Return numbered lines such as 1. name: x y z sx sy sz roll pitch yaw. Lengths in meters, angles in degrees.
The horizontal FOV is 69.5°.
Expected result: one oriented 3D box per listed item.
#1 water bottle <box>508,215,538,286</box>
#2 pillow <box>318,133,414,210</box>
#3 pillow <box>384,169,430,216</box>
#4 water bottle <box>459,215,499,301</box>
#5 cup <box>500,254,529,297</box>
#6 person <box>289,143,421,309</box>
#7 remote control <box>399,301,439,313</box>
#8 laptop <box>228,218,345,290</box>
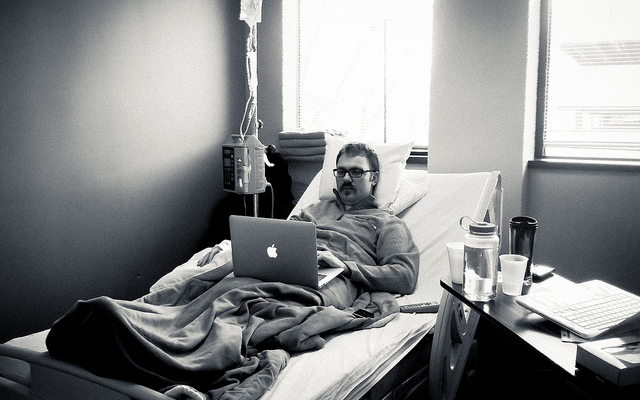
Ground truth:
1. water bottle: 0.977 0.239 2.239 0.119 0.315 0.151 -9 17 -39
2. pillow: 0.309 -0.217 3.242 0.555 0.570 0.165 1 -24 8
3. pillow: 0.606 -0.087 3.191 0.312 0.097 0.315 -37 37 -28
4. water bottle: 0.744 0.275 2.117 0.168 0.342 0.146 4 13 13
5. cup: 0.883 0.335 2.126 0.167 0.191 0.169 0 1 0
6. person: 0.246 0.175 2.863 0.969 0.771 0.557 5 1 42
7. remote control: 0.551 0.591 2.541 0.143 0.030 0.083 -3 6 8
8. laptop: -0.192 0.240 2.511 0.526 0.360 0.376 2 8 25
